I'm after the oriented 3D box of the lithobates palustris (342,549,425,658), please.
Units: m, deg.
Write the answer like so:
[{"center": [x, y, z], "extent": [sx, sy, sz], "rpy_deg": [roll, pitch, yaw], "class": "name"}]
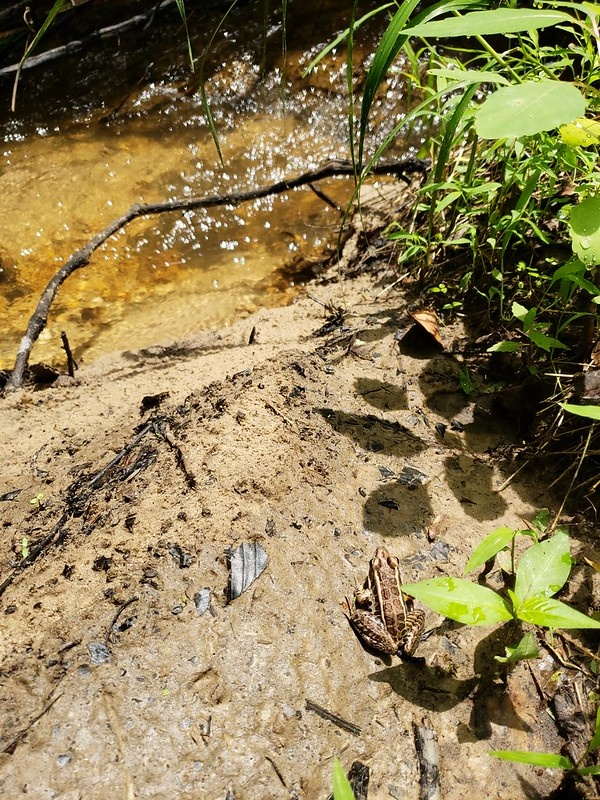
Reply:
[{"center": [0.345, 0.785, 2.864], "extent": [0.328, 0.140, 0.396], "rpy_deg": [-1, 48, -8], "class": "lithobates palustris"}]
